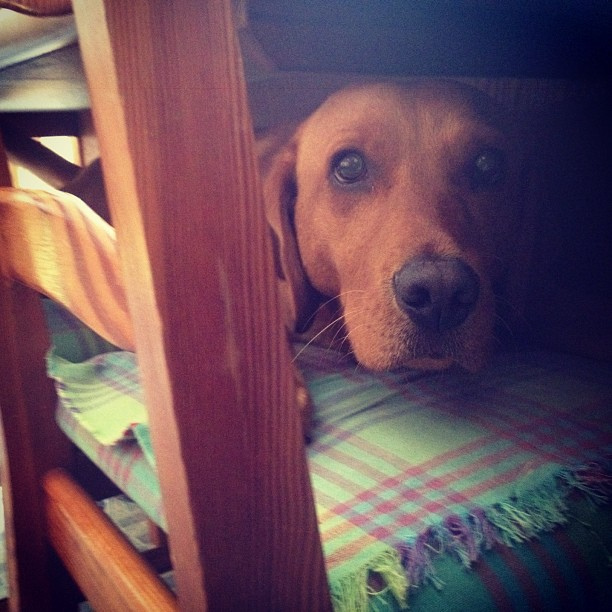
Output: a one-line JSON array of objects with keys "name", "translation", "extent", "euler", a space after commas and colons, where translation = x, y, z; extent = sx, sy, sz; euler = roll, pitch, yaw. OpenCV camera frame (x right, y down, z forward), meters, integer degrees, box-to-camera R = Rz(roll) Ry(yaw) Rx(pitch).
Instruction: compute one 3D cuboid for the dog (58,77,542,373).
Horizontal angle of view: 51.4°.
[{"name": "dog", "translation": [0.090, -0.137, 0.957], "extent": [0.329, 0.243, 0.569], "euler": [-2, 27, -16]}]
